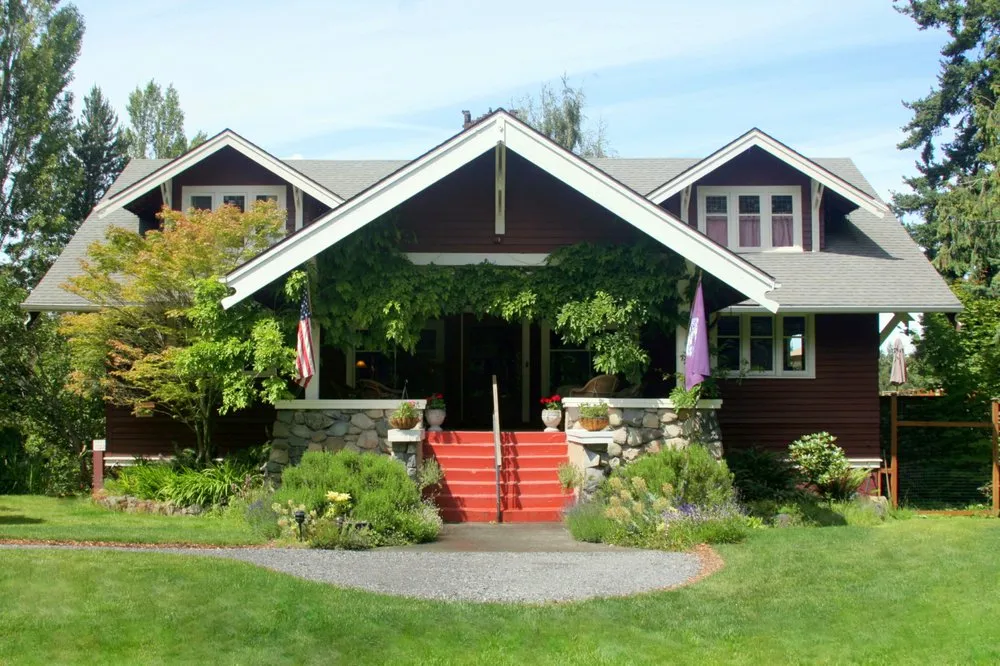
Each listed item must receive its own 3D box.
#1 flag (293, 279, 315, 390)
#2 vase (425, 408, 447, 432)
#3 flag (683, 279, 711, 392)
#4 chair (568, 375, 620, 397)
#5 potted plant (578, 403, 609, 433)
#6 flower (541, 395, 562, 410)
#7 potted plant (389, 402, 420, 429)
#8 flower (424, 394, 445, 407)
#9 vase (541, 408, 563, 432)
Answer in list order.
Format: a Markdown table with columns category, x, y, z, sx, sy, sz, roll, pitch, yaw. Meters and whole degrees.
| category | x | y | z | sx | sy | sz | roll | pitch | yaw |
| --- | --- | --- | --- | --- | --- | --- | --- | --- | --- |
| flag | -4.979 | 0.065 | 27.176 | 0.480 | 2.461 | 0.934 | 1 | -8 | -11 |
| vase | -1.806 | 2.383 | 29.546 | 0.548 | 0.643 | 0.574 | 2 | -10 | -11 |
| flag | 5.022 | -0.026 | 27.257 | 0.610 | 2.912 | 1.081 | -2 | -7 | 9 |
| chair | 2.587 | 1.556 | 29.685 | 1.069 | 0.638 | 2.579 | 1 | -9 | -7 |
| potted plant | 2.438 | 2.150 | 27.594 | 0.583 | 0.422 | 0.681 | 0 | -10 | 1 |
| flower | 1.484 | 1.890 | 29.530 | 0.507 | 0.382 | 0.518 | -5 | -10 | 44 |
| potted plant | -2.468 | 2.116 | 27.803 | 0.601 | 0.546 | 0.676 | 0 | -11 | 1 |
| flower | -1.785 | 1.860 | 29.509 | 0.358 | 0.252 | 0.382 | 3 | 5 | -3 |
| vase | 1.365 | 2.361 | 29.257 | 0.548 | 0.545 | 0.563 | 7 | -11 | -39 |
